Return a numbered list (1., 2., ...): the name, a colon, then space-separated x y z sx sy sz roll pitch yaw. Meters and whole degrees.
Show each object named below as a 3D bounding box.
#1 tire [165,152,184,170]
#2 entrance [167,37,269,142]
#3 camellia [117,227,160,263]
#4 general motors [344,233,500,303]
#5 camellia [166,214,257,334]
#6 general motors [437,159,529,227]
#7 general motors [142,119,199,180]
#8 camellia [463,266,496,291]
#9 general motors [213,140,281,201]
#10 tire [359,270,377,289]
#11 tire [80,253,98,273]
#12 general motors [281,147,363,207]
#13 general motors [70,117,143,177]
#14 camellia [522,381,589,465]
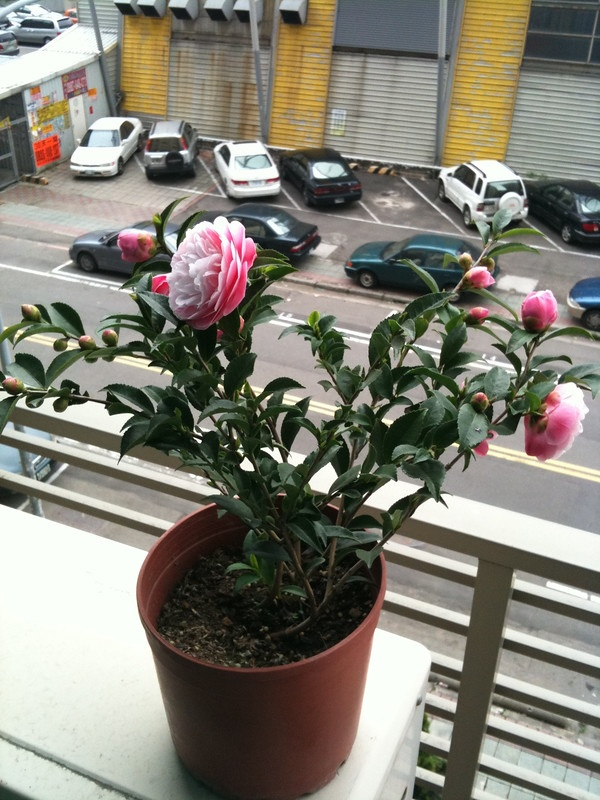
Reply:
1. tire: -3.115 -5.949 14.319 0.493 0.404 0.434 -2 27 0
2. entrance: -2.384 -9.100 16.835 3.425 2.456 0.207 16 27 20
3. camellia: -0.178 -0.173 0.643 0.051 0.022 0.040 -11 15 -42
4. general motors: 1.806 -2.359 10.214 2.207 1.087 1.372 14 27 22
5. camellia: -0.073 -0.105 0.472 0.063 0.088 0.079 8 26 7
6. general motors: 4.222 -4.826 13.000 1.489 1.060 2.612 -10 41 -4
7. general motors: -3.301 -6.460 14.946 1.164 0.931 1.829 1 49 2
8. camellia: 0.233 -0.149 0.742 0.048 0.032 0.045 0 5 17
9. general motors: -1.280 -5.564 13.939 1.046 0.650 2.019 -6 45 -7
10. tire: 1.258 -2.242 10.554 0.308 0.276 0.105 -20 18 32
11. tire: -4.067 -2.670 11.056 0.373 0.310 0.126 7 16 28
12. general motors: 0.401 -5.381 13.796 1.184 0.750 2.318 -13 44 -14
13. general motors: -5.125 -6.604 15.020 1.249 1.492 1.799 7 25 6
14. camellia: 0.274 0.026 0.598 0.082 0.038 0.076 -15 52 43
